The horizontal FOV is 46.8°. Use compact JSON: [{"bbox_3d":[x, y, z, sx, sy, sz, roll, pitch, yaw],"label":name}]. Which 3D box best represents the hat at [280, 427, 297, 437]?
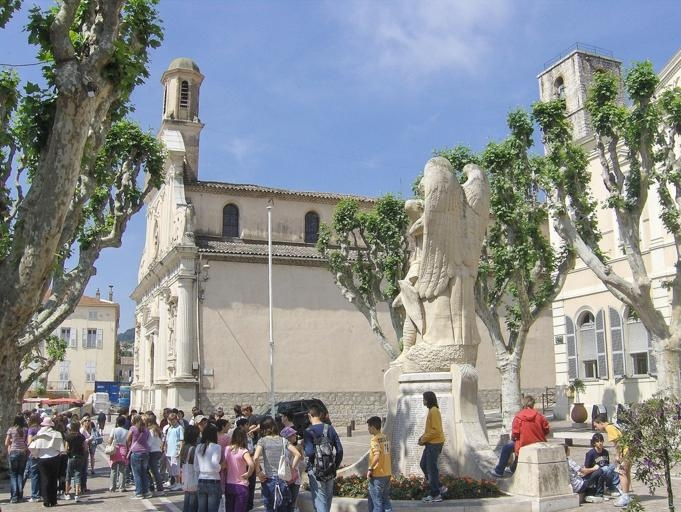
[{"bbox_3d":[-0.978,3.322,14.888,0.225,0.116,0.168,-7,-2,-17],"label":"hat"}]

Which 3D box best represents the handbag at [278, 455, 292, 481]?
[{"bbox_3d":[-1.038,3.908,14.503,0.140,0.435,0.346,-10,-25,28],"label":"handbag"}]

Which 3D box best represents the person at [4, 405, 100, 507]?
[{"bbox_3d":[-6.863,4.892,18.878,0.991,2.071,1.570,-1,-12,-1],"label":"person"}]

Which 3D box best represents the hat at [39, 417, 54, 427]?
[{"bbox_3d":[-6.984,3.915,18.645,0.224,0.139,0.249,0,-12,5],"label":"hat"}]

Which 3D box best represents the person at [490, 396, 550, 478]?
[{"bbox_3d":[3.847,3.778,16.601,1.118,1.637,1.221,-8,-14,27],"label":"person"}]

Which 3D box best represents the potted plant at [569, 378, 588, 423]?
[{"bbox_3d":[9.854,5.940,32.439,0.693,1.847,1.895,-5,-13,17],"label":"potted plant"}]

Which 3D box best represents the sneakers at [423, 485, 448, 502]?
[{"bbox_3d":[1.893,4.682,15.435,0.564,0.322,0.195,-2,-15,-6],"label":"sneakers"}]

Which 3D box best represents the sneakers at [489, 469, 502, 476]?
[{"bbox_3d":[3.248,4.491,16.308,0.232,0.148,0.115,1,-12,-13],"label":"sneakers"}]

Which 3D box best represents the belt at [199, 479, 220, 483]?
[{"bbox_3d":[-2.432,4.133,14.511,0.374,0.071,0.108,-5,-13,13],"label":"belt"}]

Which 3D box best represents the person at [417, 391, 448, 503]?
[{"bbox_3d":[1.818,3.746,15.591,0.489,2.143,0.506,-3,-12,7],"label":"person"}]
